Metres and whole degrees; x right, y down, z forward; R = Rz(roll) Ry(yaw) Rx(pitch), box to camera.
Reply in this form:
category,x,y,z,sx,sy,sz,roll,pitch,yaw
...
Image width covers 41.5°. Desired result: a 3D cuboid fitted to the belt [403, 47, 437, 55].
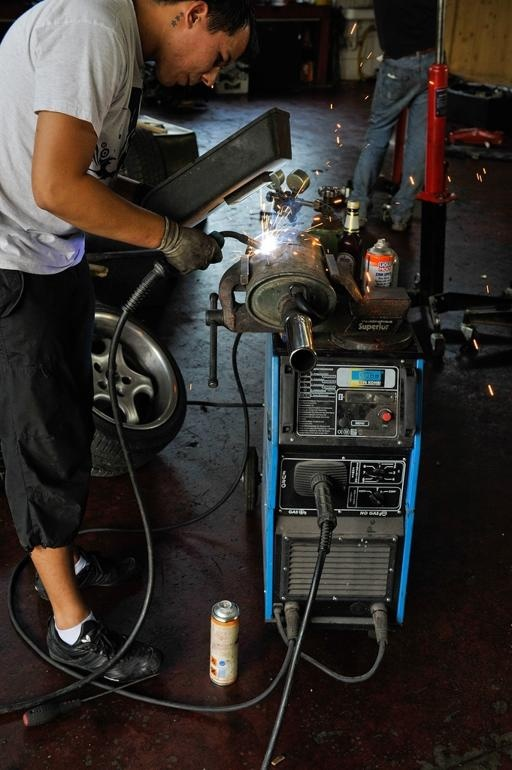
category,x,y,z,sx,sy,sz,roll,pitch,yaw
belt,1.039,-2.114,4.318,0.175,0.042,0.067,-3,43,3

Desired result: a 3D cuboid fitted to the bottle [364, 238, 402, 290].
category,x,y,z,sx,sy,sz,roll,pitch,yaw
bottle,0.329,-0.313,1.807,0.089,0.136,0.081,9,20,14

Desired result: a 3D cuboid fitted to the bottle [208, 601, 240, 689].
category,x,y,z,sx,sy,sz,roll,pitch,yaw
bottle,-0.081,0.670,1.724,0.109,0.277,0.104,2,36,-2
